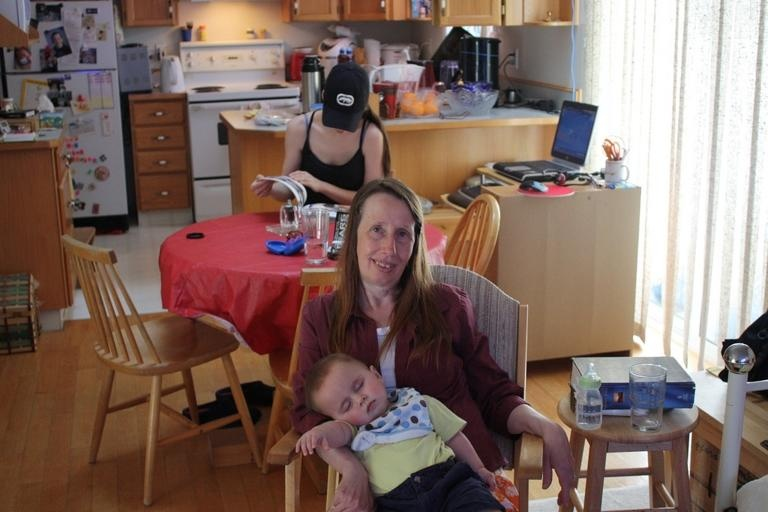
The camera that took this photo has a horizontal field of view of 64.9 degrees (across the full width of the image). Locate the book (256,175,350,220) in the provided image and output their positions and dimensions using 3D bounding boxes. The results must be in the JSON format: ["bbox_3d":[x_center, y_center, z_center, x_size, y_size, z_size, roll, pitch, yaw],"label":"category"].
[{"bbox_3d":[-0.445,-0.300,3.276,0.378,0.134,0.235,-1,-1,-42],"label":"book"}]

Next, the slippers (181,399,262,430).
[{"bbox_3d":[-0.874,0.818,3.243,0.471,0.170,0.159,-4,12,-5],"label":"slippers"}]

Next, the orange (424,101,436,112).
[{"bbox_3d":[0.339,-1.092,4.479,0.085,0.097,0.085,1,-26,15],"label":"orange"}]

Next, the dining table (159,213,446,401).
[{"bbox_3d":[-0.561,0.152,3.163,1.177,0.288,1.184,1,8,-30],"label":"dining table"}]

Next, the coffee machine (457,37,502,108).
[{"bbox_3d":[0.747,-1.540,5.021,0.480,0.684,0.416,1,11,10],"label":"coffee machine"}]

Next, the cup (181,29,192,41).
[{"bbox_3d":[-2.156,-2.420,6.588,0.111,0.135,0.092,-7,17,-16],"label":"cup"}]

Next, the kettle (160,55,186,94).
[{"bbox_3d":[-2.225,-1.906,6.308,0.229,0.371,0.308,-8,17,-19],"label":"kettle"}]

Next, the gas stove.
[{"bbox_3d":[-1.611,-1.916,6.605,1.179,0.734,0.634,-9,35,-19],"label":"gas stove"}]

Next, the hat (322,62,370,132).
[{"bbox_3d":[-0.223,-0.846,3.341,0.231,0.376,0.206,13,-14,-8],"label":"hat"}]

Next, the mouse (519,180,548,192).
[{"bbox_3d":[0.854,-0.404,3.469,0.127,0.041,0.078,6,16,26],"label":"mouse"}]

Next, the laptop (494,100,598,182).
[{"bbox_3d":[1.043,-0.756,3.916,0.496,0.480,0.603,-1,17,-3],"label":"laptop"}]

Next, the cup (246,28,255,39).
[{"bbox_3d":[-1.488,-2.499,6.767,0.111,0.099,0.052,3,17,18],"label":"cup"}]

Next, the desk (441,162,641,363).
[{"bbox_3d":[1.145,0.058,4.072,0.589,1.048,1.086,2,4,1],"label":"desk"}]

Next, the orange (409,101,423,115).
[{"bbox_3d":[0.244,-1.081,4.405,0.076,0.101,0.111,13,22,43],"label":"orange"}]

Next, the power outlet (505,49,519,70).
[{"bbox_3d":[1.052,-1.632,5.008,0.041,0.162,0.171,-10,18,-24],"label":"power outlet"}]

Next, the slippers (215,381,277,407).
[{"bbox_3d":[-0.786,0.765,3.349,0.369,0.133,0.134,-4,12,-5],"label":"slippers"}]

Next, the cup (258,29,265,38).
[{"bbox_3d":[-1.369,-2.494,6.769,0.089,0.099,0.088,2,5,0],"label":"cup"}]

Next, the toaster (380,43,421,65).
[{"bbox_3d":[0.166,-2.096,6.251,0.382,0.184,0.337,-3,16,-4],"label":"toaster"}]

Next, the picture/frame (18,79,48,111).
[{"bbox_3d":[-3.253,-1.514,5.600,0.253,0.258,0.368,-10,18,-25],"label":"picture/frame"}]
